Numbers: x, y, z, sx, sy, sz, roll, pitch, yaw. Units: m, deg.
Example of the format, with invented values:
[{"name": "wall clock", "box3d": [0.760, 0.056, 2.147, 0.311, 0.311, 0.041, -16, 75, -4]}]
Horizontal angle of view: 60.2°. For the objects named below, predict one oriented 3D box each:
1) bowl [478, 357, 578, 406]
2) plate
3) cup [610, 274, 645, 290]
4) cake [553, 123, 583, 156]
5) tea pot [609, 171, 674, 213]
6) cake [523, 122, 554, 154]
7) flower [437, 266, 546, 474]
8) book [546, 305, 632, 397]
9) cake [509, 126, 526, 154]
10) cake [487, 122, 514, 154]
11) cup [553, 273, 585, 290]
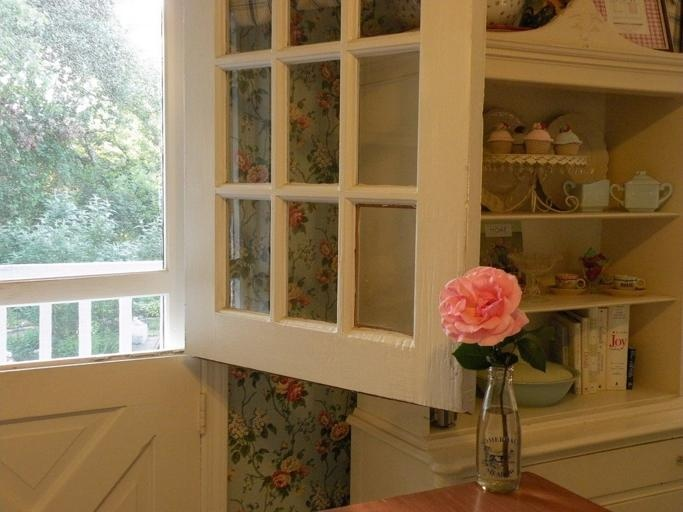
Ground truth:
[{"name": "bowl", "box3d": [0.717, 0.484, 2.276, 0.329, 0.103, 0.340, 7, 2, 0]}, {"name": "plate", "box3d": [0.775, -0.369, 2.304, 0.425, 0.327, 0.173, -1, 2, -23]}, {"name": "cup", "box3d": [1.136, 0.094, 2.330, 0.092, 0.039, 0.065, 2, 4, 24]}, {"name": "cake", "box3d": [0.843, -0.434, 2.209, 0.118, 0.140, 0.116, 4, 12, 29]}, {"name": "tea pot", "box3d": [1.182, -0.240, 2.336, 0.249, 0.183, 0.150, 0, 2, 8]}, {"name": "cake", "box3d": [0.755, -0.430, 2.203, 0.108, 0.125, 0.110, 0, 1, -28]}, {"name": "flower", "box3d": [0.383, 0.290, 1.540, 0.294, 0.532, 0.247, -2, 1, -11]}, {"name": "book", "box3d": [0.988, 0.357, 2.524, 0.296, 0.419, 0.404, -1, 1, -14]}, {"name": "cake", "box3d": [0.667, -0.439, 2.225, 0.085, 0.125, 0.085, 3, 10, 16]}, {"name": "cake", "box3d": [0.586, -0.430, 2.179, 0.101, 0.132, 0.109, 2, 5, 30]}, {"name": "cup", "box3d": [0.917, 0.096, 2.355, 0.093, 0.039, 0.061, 6, 6, 43]}]
